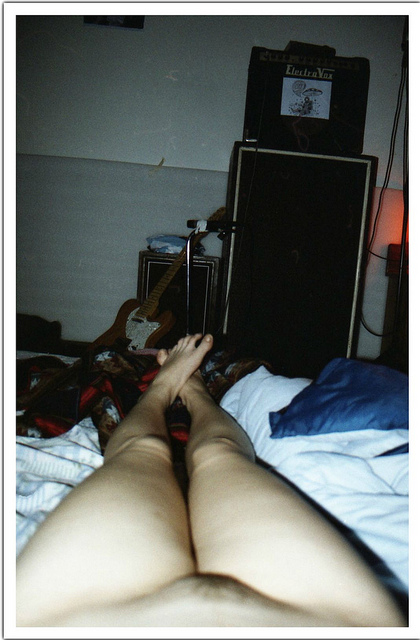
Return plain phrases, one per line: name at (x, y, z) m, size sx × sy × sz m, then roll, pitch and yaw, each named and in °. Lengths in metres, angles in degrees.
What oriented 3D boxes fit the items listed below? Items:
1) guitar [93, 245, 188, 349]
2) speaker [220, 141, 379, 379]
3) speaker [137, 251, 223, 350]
guitar at (-0.238, -0.103, 2.200) m, size 0.231 × 0.073 × 0.640 m, roll 7°, pitch 49°, yaw 37°
speaker at (0.388, -0.334, 2.147) m, size 0.562 × 1.017 × 0.393 m, roll 3°, pitch 44°, yaw 7°
speaker at (-0.159, -0.146, 2.460) m, size 0.398 × 0.703 × 0.208 m, roll 3°, pitch 53°, yaw -3°
